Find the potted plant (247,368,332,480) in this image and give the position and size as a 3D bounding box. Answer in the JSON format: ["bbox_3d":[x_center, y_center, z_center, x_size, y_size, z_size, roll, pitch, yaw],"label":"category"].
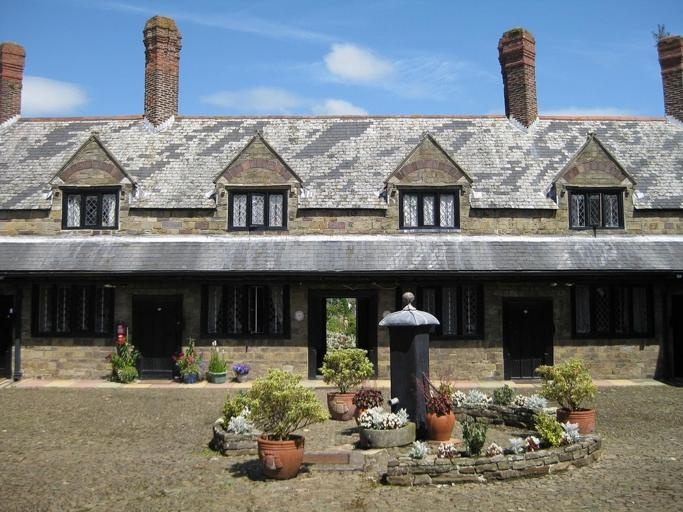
[{"bbox_3d":[-1.276,3.767,16.650,1.522,2.267,0.739,-2,10,-8],"label":"potted plant"}]

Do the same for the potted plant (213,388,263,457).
[{"bbox_3d":[-2.533,4.082,18.448,0.984,1.120,1.704,-5,3,-17],"label":"potted plant"}]

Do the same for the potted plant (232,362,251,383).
[{"bbox_3d":[-3.412,3.909,25.428,0.629,0.602,0.610,-1,-10,6],"label":"potted plant"}]

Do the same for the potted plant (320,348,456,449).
[{"bbox_3d":[1.401,3.479,18.891,3.246,1.320,2.134,4,-10,-14],"label":"potted plant"}]

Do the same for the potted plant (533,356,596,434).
[{"bbox_3d":[5.661,3.487,18.687,1.296,1.806,1.044,5,11,30],"label":"potted plant"}]

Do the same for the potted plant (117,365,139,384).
[{"bbox_3d":[-7.292,3.997,25.400,0.609,0.560,0.593,3,-4,-11],"label":"potted plant"}]
